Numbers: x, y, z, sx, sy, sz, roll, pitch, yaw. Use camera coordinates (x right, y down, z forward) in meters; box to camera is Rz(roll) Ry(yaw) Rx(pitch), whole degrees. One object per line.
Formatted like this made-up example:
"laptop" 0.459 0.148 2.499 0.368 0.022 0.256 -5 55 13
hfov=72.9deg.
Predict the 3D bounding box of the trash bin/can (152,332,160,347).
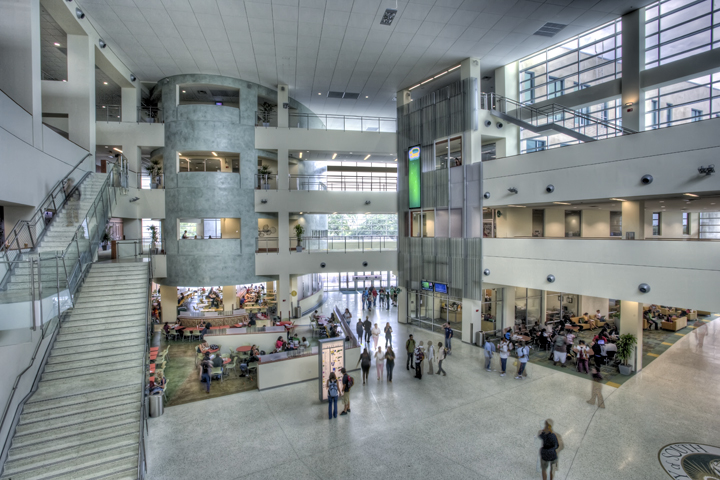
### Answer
"trash bin/can" -12.462 6.227 29.724 0.282 0.373 1.458 -5 3 -19

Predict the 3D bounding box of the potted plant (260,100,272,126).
"potted plant" -6.427 -8.691 33.114 0.809 1.863 1.102 0 -1 -11

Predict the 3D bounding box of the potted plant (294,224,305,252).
"potted plant" -4.152 -0.145 33.305 0.526 1.771 1.059 0 -1 -7

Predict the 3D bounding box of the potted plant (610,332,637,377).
"potted plant" 13.118 5.627 24.124 0.781 1.954 1.129 0 -1 10

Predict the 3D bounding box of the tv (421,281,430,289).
"tv" 4.093 2.857 30.442 0.389 0.492 0.725 2 -4 -8
